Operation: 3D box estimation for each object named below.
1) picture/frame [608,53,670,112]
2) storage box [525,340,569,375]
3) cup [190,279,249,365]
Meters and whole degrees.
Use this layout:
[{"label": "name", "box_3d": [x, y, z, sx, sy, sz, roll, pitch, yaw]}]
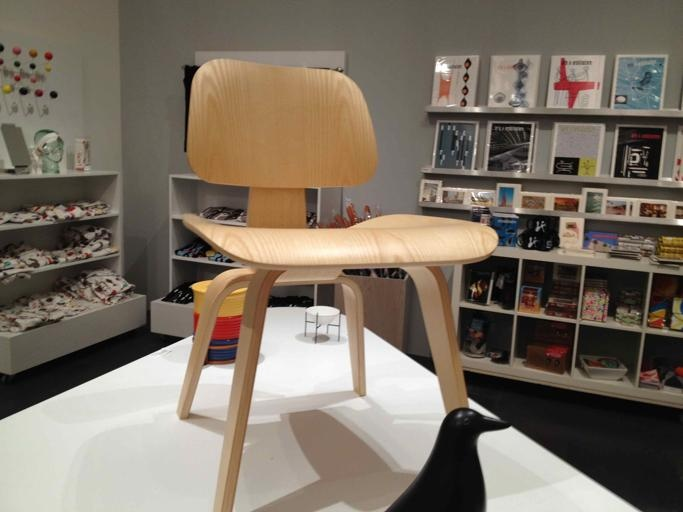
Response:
[{"label": "picture/frame", "box_3d": [1.779, -1.028, 2.821, 0.334, 0.427, 0.043, 4, 1, 12]}, {"label": "storage box", "box_3d": [1.246, 0.550, 2.860, 0.254, 0.176, 0.143, 3, -1, 36]}, {"label": "cup", "box_3d": [-0.513, 0.254, 2.149, 0.345, 0.407, 0.361, 2, 6, 0]}]
